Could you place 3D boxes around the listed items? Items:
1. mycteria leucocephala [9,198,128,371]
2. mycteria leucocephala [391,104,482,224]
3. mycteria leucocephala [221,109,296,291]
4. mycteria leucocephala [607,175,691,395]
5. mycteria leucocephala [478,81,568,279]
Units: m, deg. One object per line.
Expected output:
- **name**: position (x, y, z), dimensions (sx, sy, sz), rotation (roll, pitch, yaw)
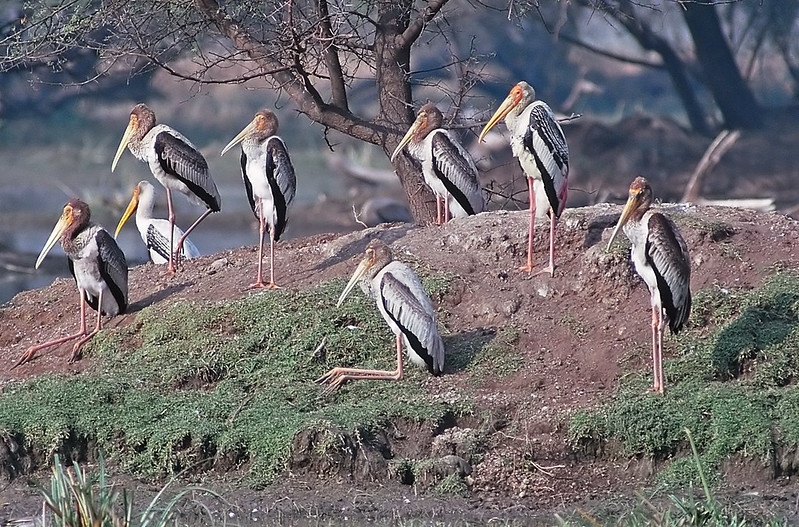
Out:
- **mycteria leucocephala**: position (-4.522, 0.203, 16.712), dimensions (1.275, 1.709, 0.768), rotation (-8, -3, -16)
- **mycteria leucocephala**: position (0.573, -1.500, 17.712), dimensions (0.916, 1.546, 0.979), rotation (-7, -3, -35)
- **mycteria leucocephala**: position (-1.934, -0.927, 17.126), dimensions (0.873, 2.070, 0.767), rotation (-8, -3, -18)
- **mycteria leucocephala**: position (3.275, 0.246, 14.936), dimensions (0.812, 2.532, 0.513), rotation (-10, -3, 11)
- **mycteria leucocephala**: position (1.880, -1.177, 16.337), dimensions (0.668, 2.402, 0.804), rotation (-7, -4, -41)
